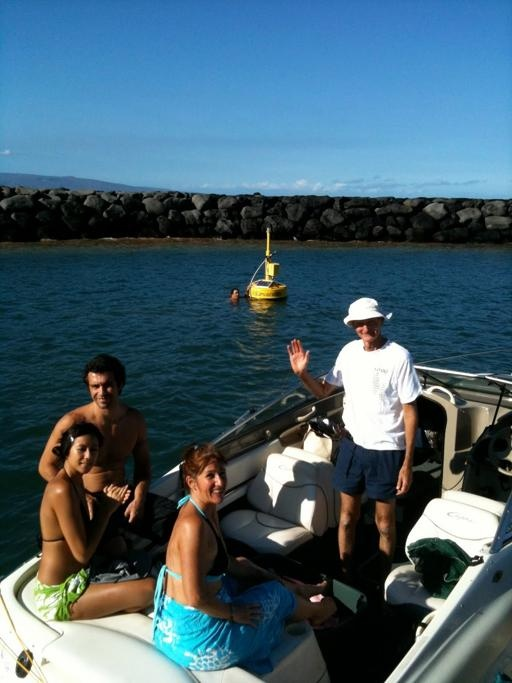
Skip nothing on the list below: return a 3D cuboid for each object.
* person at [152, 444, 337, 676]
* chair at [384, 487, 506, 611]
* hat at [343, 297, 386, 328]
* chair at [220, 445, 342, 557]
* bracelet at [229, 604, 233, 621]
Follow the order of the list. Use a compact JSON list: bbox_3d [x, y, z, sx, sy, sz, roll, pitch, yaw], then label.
[{"bbox_3d":[-0.151,1.008,3.099,1.178,1.091,0.712,-1,18,-4],"label":"person"},{"bbox_3d":[1.115,1.243,3.504,0.591,0.549,0.750,20,31,30],"label":"chair"},{"bbox_3d":[0.664,-0.196,3.700,0.200,0.106,0.215,-8,-13,5],"label":"hat"},{"bbox_3d":[0.199,1.224,4.499,0.689,0.542,0.825,15,15,38],"label":"chair"},{"bbox_3d":[-0.112,1.229,2.672,0.020,0.067,0.048,2,13,-3],"label":"bracelet"}]
